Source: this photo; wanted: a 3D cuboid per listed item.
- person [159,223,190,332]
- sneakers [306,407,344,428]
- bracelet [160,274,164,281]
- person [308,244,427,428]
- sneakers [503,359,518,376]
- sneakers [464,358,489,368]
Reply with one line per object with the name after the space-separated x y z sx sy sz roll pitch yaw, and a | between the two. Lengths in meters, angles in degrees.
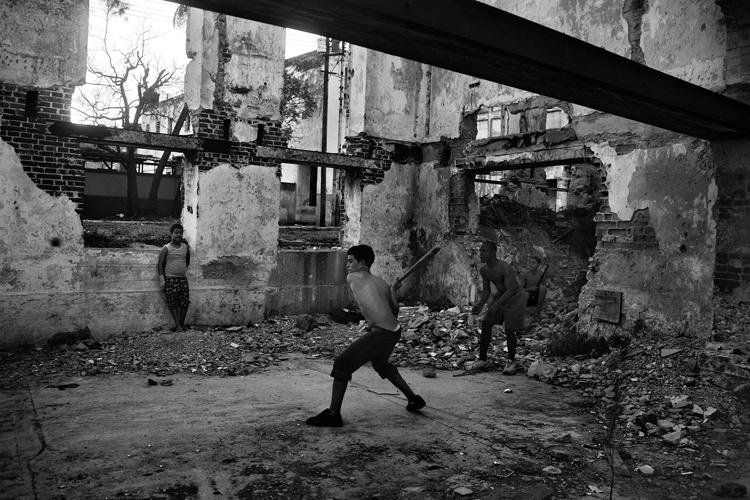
-3.659 0.522 10.723 0.644 1.912 0.564 -9 16 -41 | person
-0.640 2.126 7.322 0.455 0.198 0.196 5 -10 -2 | sneakers
-3.909 0.531 10.599 0.078 0.089 0.082 3 1 16 | bracelet
-0.139 1.088 7.494 1.528 2.208 0.737 -4 13 -23 | person
2.202 1.918 9.420 0.137 0.148 0.350 -21 -3 25 | sneakers
1.665 1.882 9.543 0.300 0.121 0.174 3 -7 5 | sneakers
